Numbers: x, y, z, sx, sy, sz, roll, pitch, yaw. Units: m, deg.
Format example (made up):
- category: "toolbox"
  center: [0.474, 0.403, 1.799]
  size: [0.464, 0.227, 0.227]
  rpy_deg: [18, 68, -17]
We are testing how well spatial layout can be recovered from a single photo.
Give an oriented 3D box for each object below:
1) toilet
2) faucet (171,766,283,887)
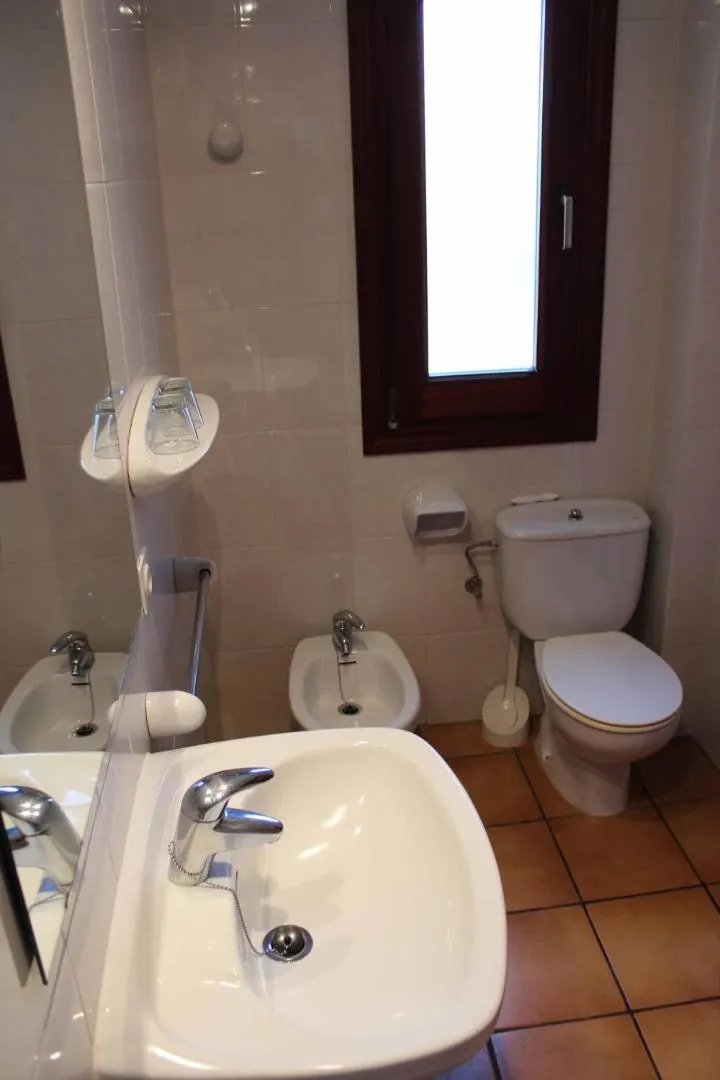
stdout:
- category: "toilet"
  center: [0.651, 0.368, 2.258]
  size: [0.420, 0.779, 0.716]
  rpy_deg: [-4, 21, -4]
- category: "faucet"
  center: [-0.166, 0.361, 0.960]
  size: [0.127, 0.191, 0.061]
  rpy_deg: [4, 43, -12]
